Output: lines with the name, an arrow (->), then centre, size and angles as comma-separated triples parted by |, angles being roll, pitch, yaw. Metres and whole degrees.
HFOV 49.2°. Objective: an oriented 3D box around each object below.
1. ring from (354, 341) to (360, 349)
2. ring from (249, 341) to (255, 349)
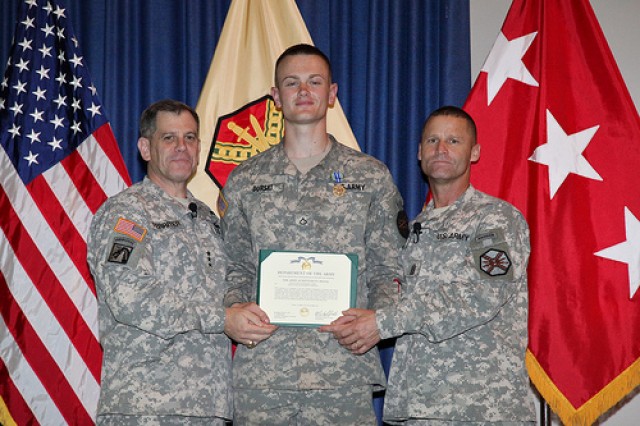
ring -> 0.211, 0.766, 4.027 | 0.028, 0.029, 0.009 | -1, 1, 35
ring -> -0.400, 0.771, 4.085 | 0.045, 0.036, 0.060 | -3, 2, -6
